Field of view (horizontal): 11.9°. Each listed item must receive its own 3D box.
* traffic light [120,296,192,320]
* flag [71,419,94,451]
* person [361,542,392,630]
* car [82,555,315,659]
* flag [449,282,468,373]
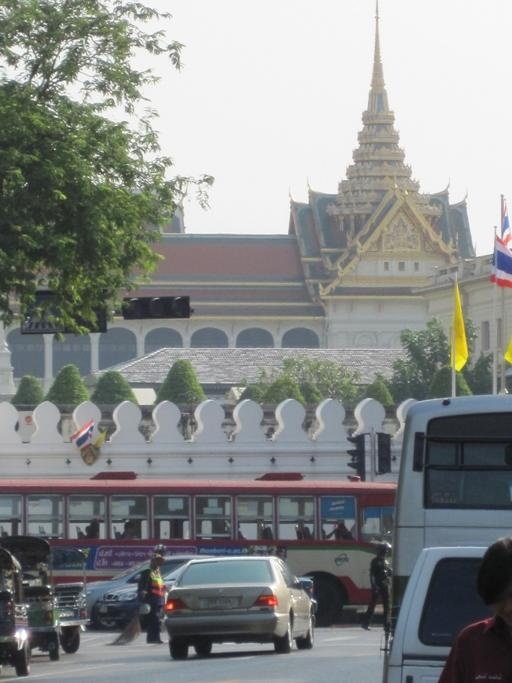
[{"bbox_3d":[-1.467,-0.541,37.442,0.823,0.521,0.654,1,-10,-26],"label":"traffic light"},{"bbox_3d":[-3.069,1.673,44.839,0.410,0.526,0.823,0,-5,-4],"label":"flag"},{"bbox_3d":[1.614,3.170,32.239,0.365,1.096,0.321,5,12,35],"label":"person"},{"bbox_3d":[-0.213,3.012,27.760,1.519,1.159,1.574,-1,-5,1],"label":"car"},{"bbox_3d":[3.899,-0.278,47.522,0.259,1.654,0.124,0,8,27],"label":"flag"}]
